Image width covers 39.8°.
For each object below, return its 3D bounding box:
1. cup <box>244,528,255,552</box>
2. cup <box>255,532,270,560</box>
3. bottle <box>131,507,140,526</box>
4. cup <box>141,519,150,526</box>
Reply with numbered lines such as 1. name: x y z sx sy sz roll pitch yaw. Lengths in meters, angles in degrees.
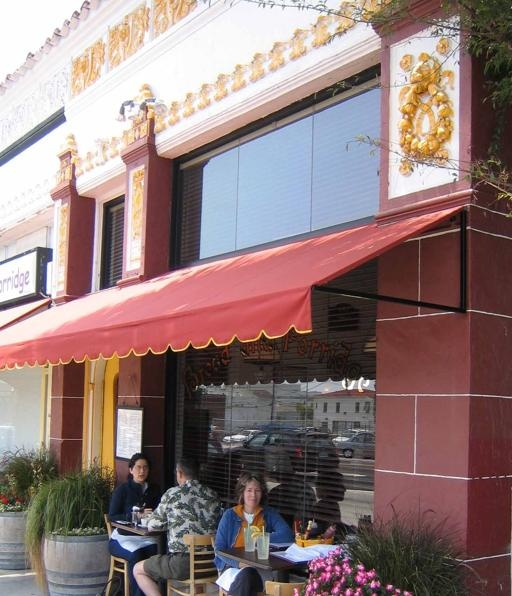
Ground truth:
1. cup: -0.047 1.943 5.675 0.081 0.181 0.144 -1 -10 1
2. cup: 0.059 1.901 5.438 0.091 0.200 0.178 0 -10 -3
3. bottle: -1.262 2.314 7.500 0.130 0.214 0.127 4 -17 1
4. cup: -1.139 2.331 7.358 0.091 0.073 0.098 0 -15 0
